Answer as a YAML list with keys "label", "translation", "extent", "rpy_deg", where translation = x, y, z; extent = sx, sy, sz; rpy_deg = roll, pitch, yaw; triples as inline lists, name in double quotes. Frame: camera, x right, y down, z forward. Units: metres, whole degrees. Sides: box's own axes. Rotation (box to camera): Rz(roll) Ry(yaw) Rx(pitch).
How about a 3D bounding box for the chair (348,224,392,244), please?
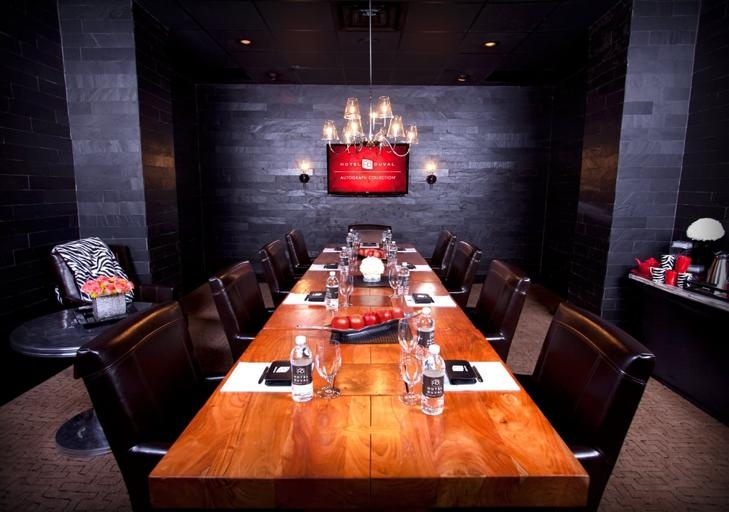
- label: "chair"
  translation: [0.101, -0.328, 6.143]
  extent: [0.458, 0.302, 0.306]
  rpy_deg: [2, -18, -1]

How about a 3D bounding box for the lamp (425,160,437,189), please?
- label: "lamp"
  translation: [1.012, -1.246, 6.862]
  extent: [0.187, 0.395, 0.100]
  rpy_deg: [1, 13, 7]

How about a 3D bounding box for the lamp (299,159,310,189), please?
- label: "lamp"
  translation: [-0.904, -1.250, 6.884]
  extent: [0.176, 0.397, 0.100]
  rpy_deg: [-2, 13, -9]

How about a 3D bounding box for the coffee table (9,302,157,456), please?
- label: "coffee table"
  translation: [-2.180, 0.817, 3.744]
  extent: [1.315, 0.836, 1.239]
  rpy_deg: [-1, 7, -13]

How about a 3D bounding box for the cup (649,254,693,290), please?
- label: "cup"
  translation: [2.752, 0.137, 4.166]
  extent: [0.243, 0.333, 0.363]
  rpy_deg: [26, -11, -32]

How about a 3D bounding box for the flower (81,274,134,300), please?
- label: "flower"
  translation: [-2.078, 0.232, 3.639]
  extent: [0.314, 0.163, 0.389]
  rpy_deg: [-8, 13, -34]

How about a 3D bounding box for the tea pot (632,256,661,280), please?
- label: "tea pot"
  translation: [2.772, 0.119, 4.415]
  extent: [0.266, 0.174, 0.191]
  rpy_deg: [-1, 2, 34]
